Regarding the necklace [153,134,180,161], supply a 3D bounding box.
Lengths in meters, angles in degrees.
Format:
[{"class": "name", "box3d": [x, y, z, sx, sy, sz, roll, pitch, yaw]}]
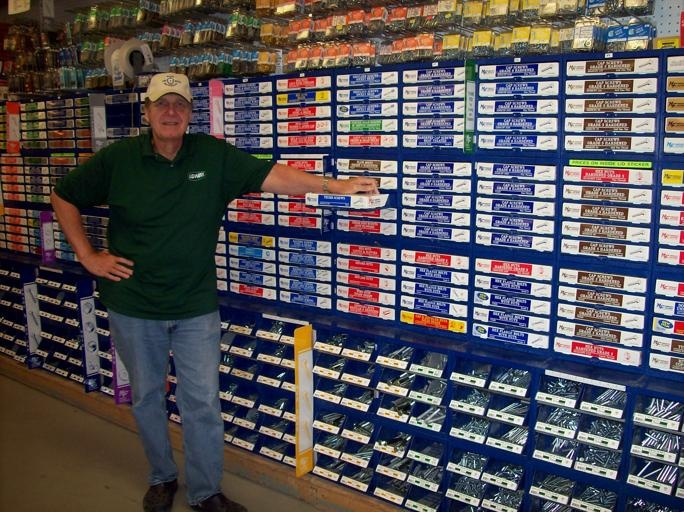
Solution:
[{"class": "necklace", "box3d": [-1.030, -0.630, 3.216, 0.169, 0.111, 0.160, 5, 29, -14]}]

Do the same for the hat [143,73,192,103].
[{"class": "hat", "box3d": [-1.021, -0.978, 3.195, 0.251, 0.167, 0.113, -4, 14, -18]}]
